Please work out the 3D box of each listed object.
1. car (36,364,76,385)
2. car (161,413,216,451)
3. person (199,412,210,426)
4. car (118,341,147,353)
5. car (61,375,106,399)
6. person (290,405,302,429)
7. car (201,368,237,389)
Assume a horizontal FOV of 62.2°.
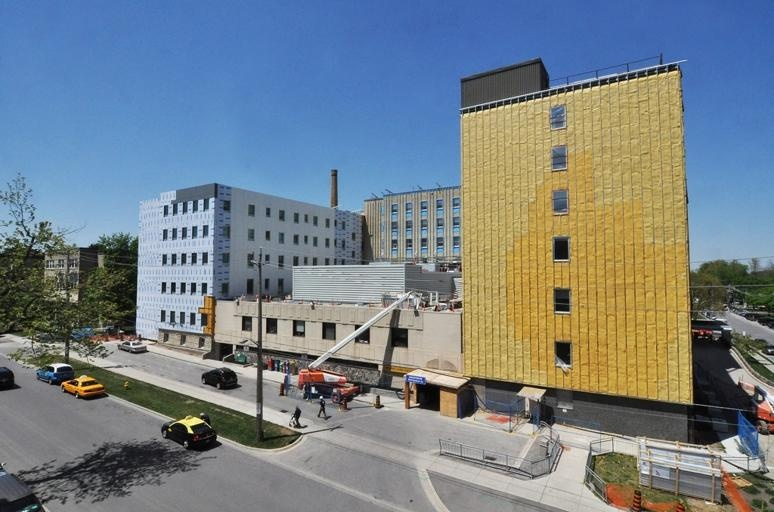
[{"bbox_3d":[-36.405,12.669,70.584,3.926,1.567,2.034,8,2,28],"label":"car"},{"bbox_3d":[-17.760,15.840,57.745,4.555,2.562,1.555,-4,-6,24],"label":"car"},{"bbox_3d":[-16.999,15.097,59.872,1.202,1.230,0.881,2,8,-10],"label":"person"},{"bbox_3d":[-34.064,11.897,85.662,2.959,0.872,1.658,5,3,37],"label":"car"},{"bbox_3d":[-31.331,13.503,66.475,4.017,2.081,1.768,-3,-6,20],"label":"car"},{"bbox_3d":[-8.462,15.237,60.563,0.721,2.366,0.907,12,-11,-28],"label":"person"},{"bbox_3d":[-18.131,13.237,69.967,3.564,2.024,1.754,-4,-6,27],"label":"car"}]
